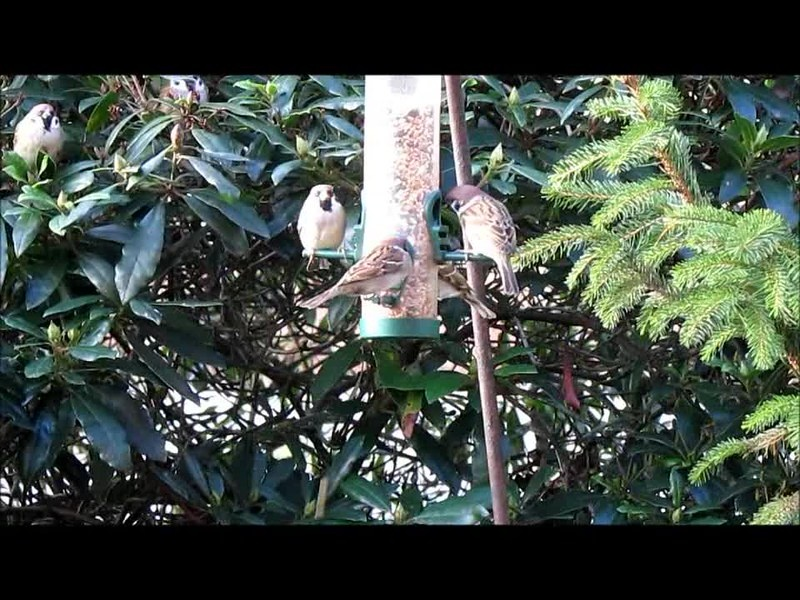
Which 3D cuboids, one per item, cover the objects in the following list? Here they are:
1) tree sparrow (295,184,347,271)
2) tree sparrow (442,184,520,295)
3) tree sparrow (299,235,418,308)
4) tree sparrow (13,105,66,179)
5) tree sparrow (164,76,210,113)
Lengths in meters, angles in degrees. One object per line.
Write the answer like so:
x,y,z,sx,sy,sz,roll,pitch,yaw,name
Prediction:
-0.275,-0.276,3.222,0.177,0.273,0.171,10,19,8,tree sparrow
0.291,-0.227,3.021,0.156,0.209,0.384,-17,56,-11,tree sparrow
-0.119,-0.093,2.981,0.437,0.182,0.137,-10,6,-15,tree sparrow
-1.295,-0.610,3.272,0.229,0.225,0.170,26,25,37,tree sparrow
-0.760,-0.767,3.306,0.153,0.135,0.114,-5,54,-7,tree sparrow
